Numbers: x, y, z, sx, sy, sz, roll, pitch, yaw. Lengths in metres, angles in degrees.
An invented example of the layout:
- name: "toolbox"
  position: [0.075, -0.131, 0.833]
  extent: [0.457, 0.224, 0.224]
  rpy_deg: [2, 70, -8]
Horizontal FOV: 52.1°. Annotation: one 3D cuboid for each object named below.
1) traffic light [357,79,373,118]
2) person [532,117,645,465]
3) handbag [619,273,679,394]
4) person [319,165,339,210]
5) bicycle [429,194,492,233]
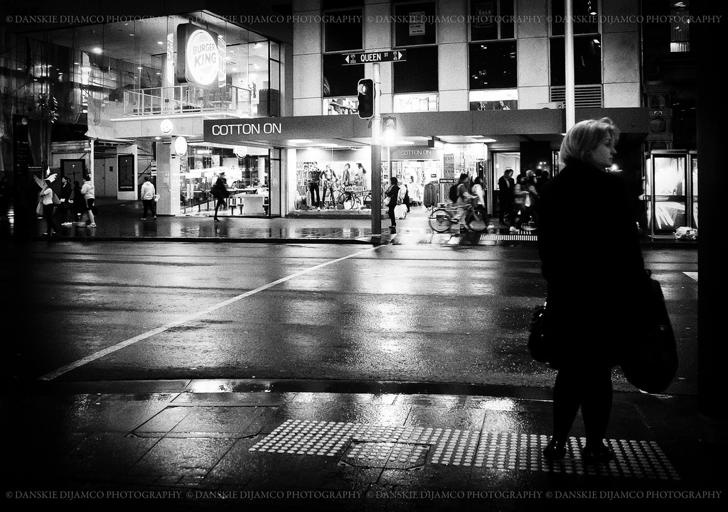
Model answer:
- name: "traffic light"
  position: [0.091, -4.738, 22.343]
  extent: [0.447, 1.135, 0.652]
  rpy_deg: [1, 6, 6]
- name: "person"
  position: [1.674, 0.256, 5.548]
  extent: [0.740, 2.518, 0.477]
  rpy_deg: [2, 6, 13]
- name: "handbag"
  position: [2.078, 0.566, 5.406]
  extent: [0.382, 0.903, 0.248]
  rpy_deg: [3, 6, 21]
- name: "person"
  position: [-1.751, -3.502, 37.845]
  extent: [0.898, 2.094, 0.364]
  rpy_deg: [1, 6, 8]
- name: "bicycle"
  position: [3.213, -1.401, 25.189]
  extent: [2.070, 1.360, 0.968]
  rpy_deg: [0, -16, 7]
